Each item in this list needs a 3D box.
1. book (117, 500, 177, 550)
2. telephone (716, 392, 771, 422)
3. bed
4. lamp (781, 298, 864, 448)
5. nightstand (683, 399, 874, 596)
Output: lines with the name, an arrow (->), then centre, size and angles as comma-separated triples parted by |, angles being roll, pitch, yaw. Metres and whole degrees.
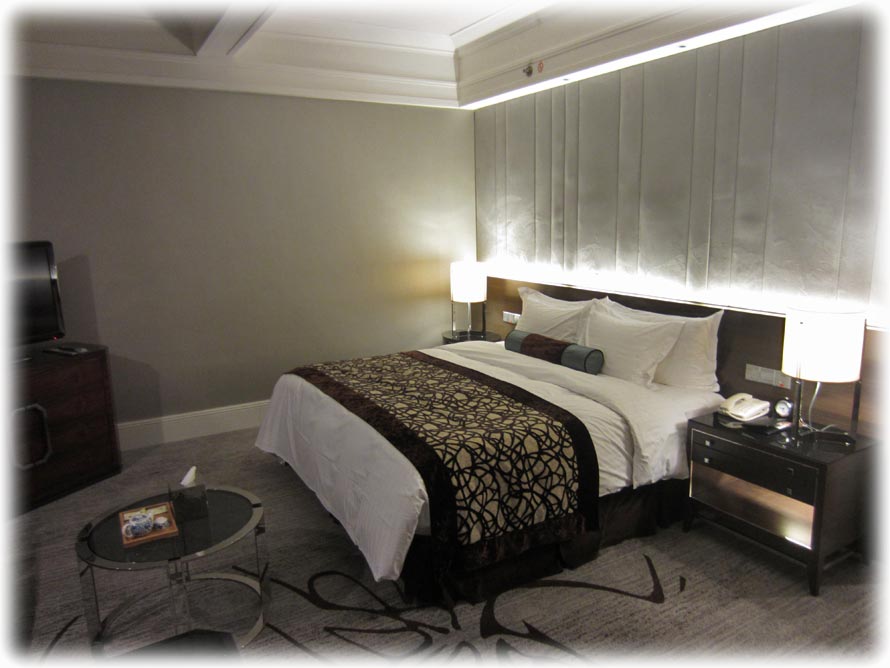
book -> -1.665, 1.035, 3.519 | 0.286, 0.142, 0.358 | -2, 11, -29
telephone -> 1.941, 0.483, 4.136 | 0.181, 0.088, 0.235 | -10, 11, -4
bed -> 0.417, 0.676, 4.270 | 2.166, 1.129, 2.232 | -3, 9, -28
lamp -> 2.337, 0.243, 3.854 | 0.472, 0.793, 0.307 | 2, 11, -7
nightstand -> 2.064, 0.869, 4.175 | 0.898, 1.148, 1.218 | -3, 7, -24
